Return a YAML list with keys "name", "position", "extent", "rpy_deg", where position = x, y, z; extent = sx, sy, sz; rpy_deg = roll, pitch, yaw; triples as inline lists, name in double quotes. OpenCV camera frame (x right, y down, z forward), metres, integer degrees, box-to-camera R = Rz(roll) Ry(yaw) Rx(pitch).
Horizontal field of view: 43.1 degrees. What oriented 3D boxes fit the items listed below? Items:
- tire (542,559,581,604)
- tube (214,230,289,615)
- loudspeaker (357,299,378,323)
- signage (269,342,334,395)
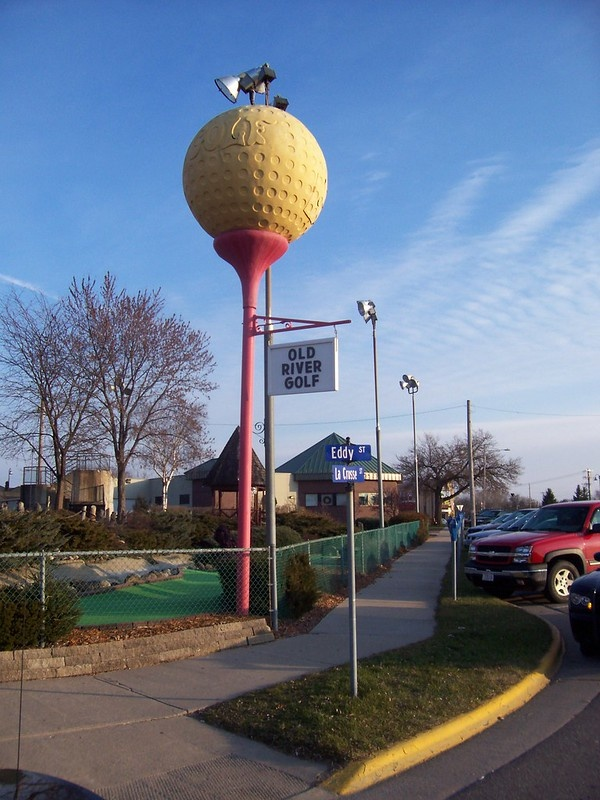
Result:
- name: "tire"
  position: [4.241, 2.954, 12.318]
  extent: [0.755, 0.720, 0.361]
  rpy_deg: [2, -6, -34]
- name: "tube"
  position: [-0.660, 0.219, 10.614]
  extent: [0.952, 5.373, 2.034]
  rpy_deg: [0, -5, -9]
- name: "loudspeaker"
  position: [2.578, -3.351, 28.507]
  extent: [0.492, 0.620, 0.833]
  rpy_deg: [-4, -6, 31]
- name: "signage"
  position: [0.061, -0.385, 9.101]
  extent: [0.650, 0.486, 0.089]
  rpy_deg: [-6, -12, 37]
